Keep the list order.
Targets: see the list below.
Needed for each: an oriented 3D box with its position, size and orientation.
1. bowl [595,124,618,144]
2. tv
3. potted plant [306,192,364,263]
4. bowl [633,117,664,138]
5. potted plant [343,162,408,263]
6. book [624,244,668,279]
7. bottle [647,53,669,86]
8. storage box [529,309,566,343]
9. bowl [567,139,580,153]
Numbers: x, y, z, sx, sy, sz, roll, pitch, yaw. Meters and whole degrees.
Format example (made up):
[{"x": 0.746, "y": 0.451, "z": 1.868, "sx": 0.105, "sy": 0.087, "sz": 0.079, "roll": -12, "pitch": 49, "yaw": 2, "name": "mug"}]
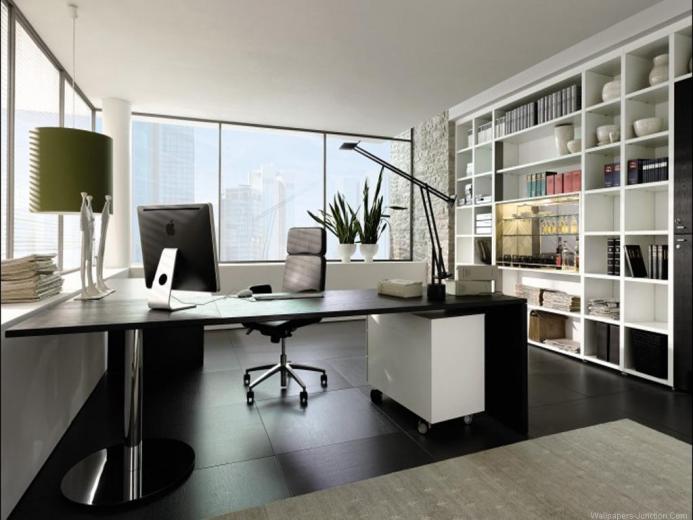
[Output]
[{"x": 2.487, "y": -1.194, "z": 4.779, "sx": 0.182, "sy": 0.161, "sz": 0.183, "roll": -2, "pitch": 0, "yaw": 0, "name": "bowl"}, {"x": -1.062, "y": -0.011, "z": 3.133, "sx": 0.625, "sy": 0.715, "sz": 0.234, "roll": 1, "pitch": 5, "yaw": 23, "name": "tv"}, {"x": -0.113, "y": -0.498, "z": 7.177, "sx": 0.777, "sy": 1.100, "sz": 0.925, "roll": 0, "pitch": 2, "yaw": 44, "name": "potted plant"}, {"x": 2.664, "y": -1.175, "z": 4.387, "sx": 0.180, "sy": 0.145, "sz": 0.192, "roll": -2, "pitch": -2, "yaw": 0, "name": "bowl"}, {"x": 0.378, "y": -0.645, "z": 7.622, "sx": 1.436, "sy": 1.594, "sz": 0.845, "roll": -2, "pitch": 2, "yaw": -44, "name": "potted plant"}, {"x": 2.663, "y": 0.010, "z": 4.411, "sx": 0.259, "sy": 0.382, "sz": 0.353, "roll": -2, "pitch": -1, "yaw": 42, "name": "book"}, {"x": 2.741, "y": -1.653, "z": 4.347, "sx": 0.151, "sy": 0.257, "sz": 0.123, "roll": 11, "pitch": 15, "yaw": 44, "name": "bottle"}, {"x": 2.215, "y": 0.691, "z": 5.572, "sx": 0.377, "sy": 0.411, "sz": 0.287, "roll": 2, "pitch": -3, "yaw": -19, "name": "storage box"}, {"x": 2.320, "y": -1.160, "z": 5.073, "sx": 0.118, "sy": 0.100, "sz": 0.125, "roll": -1, "pitch": 6, "yaw": 0, "name": "bowl"}]
